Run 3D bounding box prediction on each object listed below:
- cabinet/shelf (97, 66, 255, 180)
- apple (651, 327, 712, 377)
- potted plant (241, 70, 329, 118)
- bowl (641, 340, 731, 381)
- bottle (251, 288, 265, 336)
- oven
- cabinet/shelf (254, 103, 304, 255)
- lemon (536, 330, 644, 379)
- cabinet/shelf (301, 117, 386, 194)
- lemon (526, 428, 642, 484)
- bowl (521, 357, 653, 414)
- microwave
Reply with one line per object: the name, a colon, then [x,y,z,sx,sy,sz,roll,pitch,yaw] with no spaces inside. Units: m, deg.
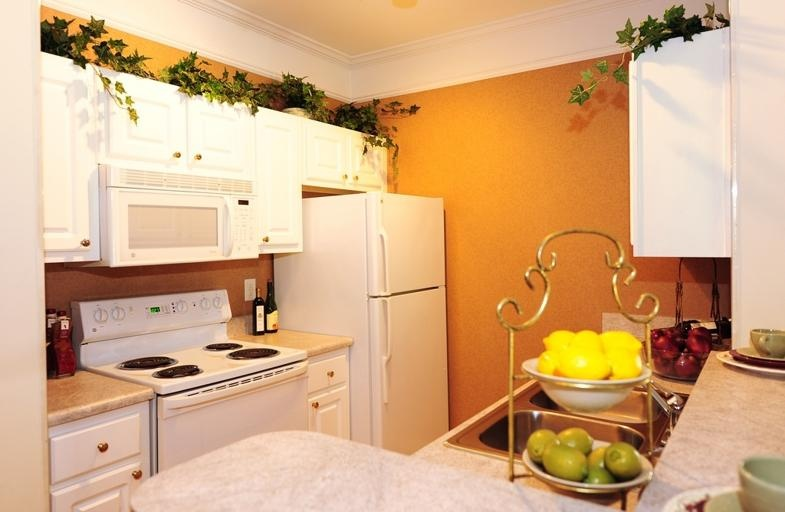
cabinet/shelf: [-1.134,-0.698,3.097,0.895,0.397,0.299,10,16,3]
apple: [1.331,0.449,2.614,0.305,0.171,0.302,0,-5,-14]
potted plant: [-0.718,-1.120,3.795,0.408,0.215,0.431,-4,17,-32]
bowl: [1.345,0.537,2.648,0.359,0.141,0.349,0,-22,0]
bottle: [-0.919,0.377,3.690,0.092,0.302,0.151,-2,2,-15]
oven: [-0.810,0.805,2.800,0.421,0.588,0.629,2,3,41]
cabinet/shelf: [-0.604,-0.490,3.658,0.576,0.880,0.538,0,8,-5]
lemon: [0.542,0.274,1.501,0.184,0.086,0.176,-3,-2,42]
cabinet/shelf: [-0.271,-0.710,3.951,0.858,0.407,0.252,16,23,38]
lemon: [0.566,0.563,1.609,0.184,0.072,0.185,-8,-9,38]
bowl: [0.561,0.378,1.574,0.377,0.129,0.357,-2,1,0]
microwave: [-1.099,-0.216,3.146,0.881,0.501,0.515,1,6,8]
